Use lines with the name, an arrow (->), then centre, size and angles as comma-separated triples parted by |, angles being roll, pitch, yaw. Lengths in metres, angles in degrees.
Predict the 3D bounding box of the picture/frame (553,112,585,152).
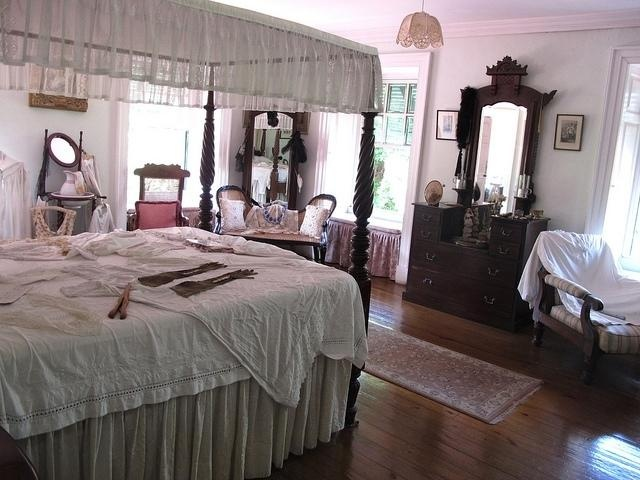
picture/frame -> 2.731, -1.189, 5.141 | 0.025, 0.575, 0.370 | -6, 10, -40

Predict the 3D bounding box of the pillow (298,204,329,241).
pillow -> -0.067, -0.229, 6.572 | 0.132, 0.456, 0.423 | 23, -7, -42

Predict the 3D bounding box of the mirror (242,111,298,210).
mirror -> -0.757, -1.167, 7.110 | 0.822, 2.010, 0.142 | 1, -16, -10

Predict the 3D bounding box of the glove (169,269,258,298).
glove -> -0.650, 0.257, 2.889 | 0.157, 0.050, 0.522 | 12, 16, 39

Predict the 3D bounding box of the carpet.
carpet -> 1.073, 1.183, 4.179 | 1.525, 0.116, 0.954 | 11, 12, 35

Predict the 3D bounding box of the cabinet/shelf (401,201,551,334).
cabinet/shelf -> 1.802, 0.337, 5.304 | 1.201, 1.141, 0.521 | 13, 12, 42

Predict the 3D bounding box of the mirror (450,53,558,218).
mirror -> 2.095, -1.242, 5.522 | 1.007, 1.784, 0.221 | 10, 13, 33

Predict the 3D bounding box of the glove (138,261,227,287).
glove -> -0.899, 0.224, 3.015 | 0.152, 0.031, 0.517 | 12, 12, 35

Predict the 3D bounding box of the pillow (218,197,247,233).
pillow -> -1.234, -0.330, 6.460 | 0.440, 0.490, 0.159 | 6, -18, -42

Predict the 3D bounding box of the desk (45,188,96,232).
desk -> -3.052, -0.361, 5.769 | 0.553, 0.649, 0.568 | -4, 18, -31

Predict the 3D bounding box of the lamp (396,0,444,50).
lamp -> 0.826, -1.757, 3.907 | 0.362, 0.277, 0.248 | 6, 11, 11

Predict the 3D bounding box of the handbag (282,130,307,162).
handbag -> -0.381, -1.438, 7.120 | 0.225, 0.573, 0.512 | -5, 3, 33

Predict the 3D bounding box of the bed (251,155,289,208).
bed -> -0.850, -0.943, 7.365 | 0.483, 0.583, 0.724 | -2, 10, -24
